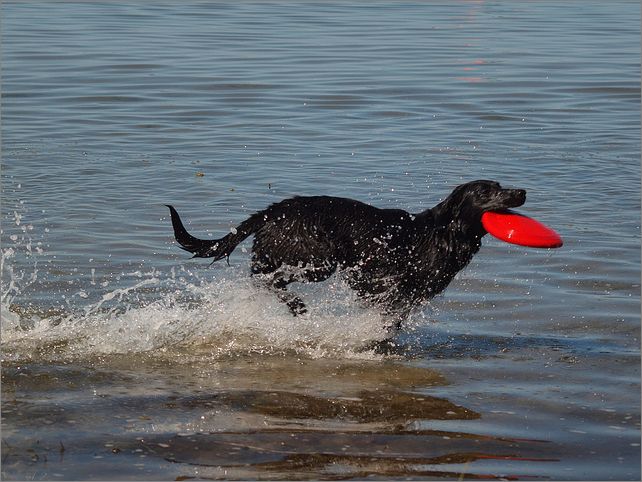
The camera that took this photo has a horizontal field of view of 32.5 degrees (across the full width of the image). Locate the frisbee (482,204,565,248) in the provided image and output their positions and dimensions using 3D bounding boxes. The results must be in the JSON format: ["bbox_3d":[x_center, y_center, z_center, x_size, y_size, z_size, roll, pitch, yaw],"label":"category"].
[{"bbox_3d":[2.102,-0.136,11.252,0.814,0.660,0.129,21,70,-8],"label":"frisbee"}]
